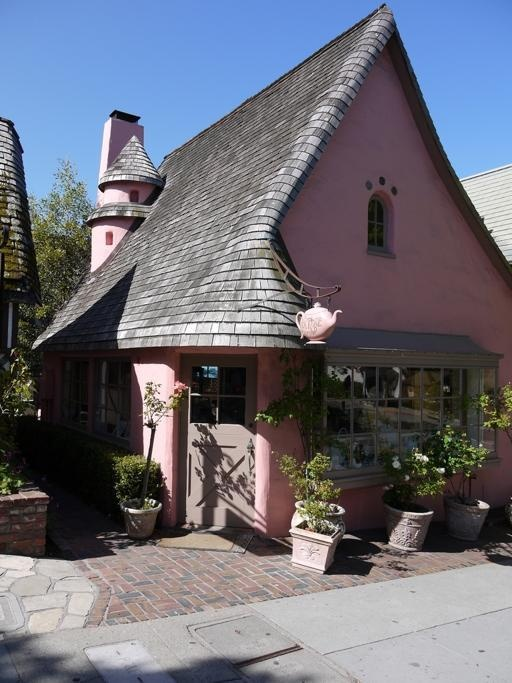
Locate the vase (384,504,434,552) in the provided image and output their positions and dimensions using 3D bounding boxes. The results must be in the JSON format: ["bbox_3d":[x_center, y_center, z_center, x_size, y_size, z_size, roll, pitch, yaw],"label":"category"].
[{"bbox_3d":[2.223,2.756,8.629,0.618,0.617,0.603,3,1,42],"label":"vase"}]

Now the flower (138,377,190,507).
[{"bbox_3d":[-1.483,1.546,8.749,0.650,1.960,0.603,-1,0,43],"label":"flower"}]

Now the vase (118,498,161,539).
[{"bbox_3d":[-1.683,2.571,8.361,0.564,0.512,0.472,5,-4,-8],"label":"vase"}]

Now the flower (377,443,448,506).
[{"bbox_3d":[2.399,2.110,8.871,0.875,0.898,0.671,3,-4,12],"label":"flower"}]

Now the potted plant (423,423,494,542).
[{"bbox_3d":[3.390,2.266,9.800,1.097,2.178,1.197,1,0,-44],"label":"potted plant"}]

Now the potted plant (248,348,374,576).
[{"bbox_3d":[0.880,1.532,8.050,1.126,2.922,1.245,-1,0,-38],"label":"potted plant"}]

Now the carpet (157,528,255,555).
[{"bbox_3d":[-0.706,2.825,8.284,1.290,0.118,0.895,3,-3,9],"label":"carpet"}]
